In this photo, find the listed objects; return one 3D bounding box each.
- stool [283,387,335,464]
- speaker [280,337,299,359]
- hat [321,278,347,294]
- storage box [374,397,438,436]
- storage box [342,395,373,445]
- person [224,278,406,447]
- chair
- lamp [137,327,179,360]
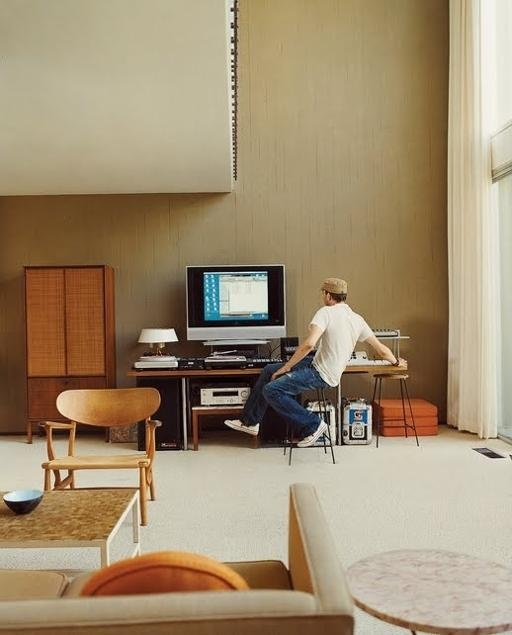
[{"bbox_3d":[0.463,0.864,4.839,0.469,0.904,0.481,1,-3,1],"label":"stool"},{"bbox_3d":[0.289,0.275,5.260,0.142,0.233,0.171,0,-5,0],"label":"speaker"},{"bbox_3d":[0.601,-0.246,4.619,0.118,0.094,0.178,1,10,-21],"label":"hat"},{"bbox_3d":[1.362,0.912,5.340,0.329,0.249,0.350,-1,-2,2],"label":"storage box"},{"bbox_3d":[0.862,0.902,4.980,0.209,0.369,0.348,0,1,2],"label":"storage box"},{"bbox_3d":[0.435,0.349,4.656,0.749,1.247,1.111,-1,0,-43],"label":"person"},{"bbox_3d":[-0.874,0.705,3.447,0.748,1.017,0.691,-1,-11,-2],"label":"chair"},{"bbox_3d":[-0.862,0.190,5.298,0.286,0.276,0.300,2,4,6],"label":"lamp"}]
